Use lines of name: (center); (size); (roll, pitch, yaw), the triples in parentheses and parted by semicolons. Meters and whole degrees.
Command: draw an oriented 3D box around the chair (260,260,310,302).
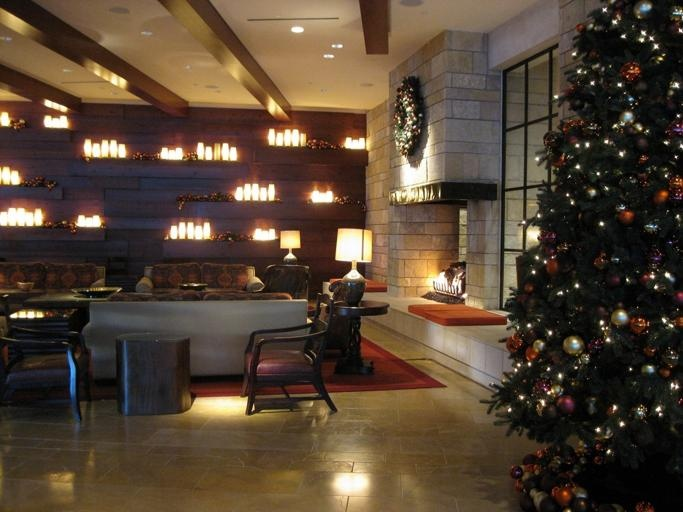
chair: (-0.838, 0.404, 8.310); (0.626, 0.558, 0.575); (-2, -13, 8)

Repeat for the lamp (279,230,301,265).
lamp: (-0.959, -0.175, 10.521); (0.387, 0.643, 0.937); (0, 5, -5)

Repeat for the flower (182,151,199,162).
flower: (-2.904, -1.936, 10.758); (0.308, 0.194, 0.199); (-1, 6, -15)

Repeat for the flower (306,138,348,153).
flower: (-0.341, -2.214, 11.023); (0.574, 0.134, 0.364); (0, 1, -7)

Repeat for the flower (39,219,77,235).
flower: (-5.210, -0.572, 10.369); (0.811, 0.193, 0.258); (0, 14, -15)

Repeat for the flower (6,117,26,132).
flower: (-5.998, -2.461, 10.337); (0.287, 0.208, 0.083); (-7, 5, -10)

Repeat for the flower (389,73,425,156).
flower: (0.966, -1.997, 7.856); (0.181, 1.150, 0.693); (-1, 6, -17)

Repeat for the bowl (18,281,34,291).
bowl: (-4.562, 0.432, 8.098); (0.233, 0.102, 0.201); (-1, -7, 1)

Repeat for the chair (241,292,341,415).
chair: (-0.578, 0.900, 5.099); (1.173, 1.072, 0.836); (3, -4, -14)
